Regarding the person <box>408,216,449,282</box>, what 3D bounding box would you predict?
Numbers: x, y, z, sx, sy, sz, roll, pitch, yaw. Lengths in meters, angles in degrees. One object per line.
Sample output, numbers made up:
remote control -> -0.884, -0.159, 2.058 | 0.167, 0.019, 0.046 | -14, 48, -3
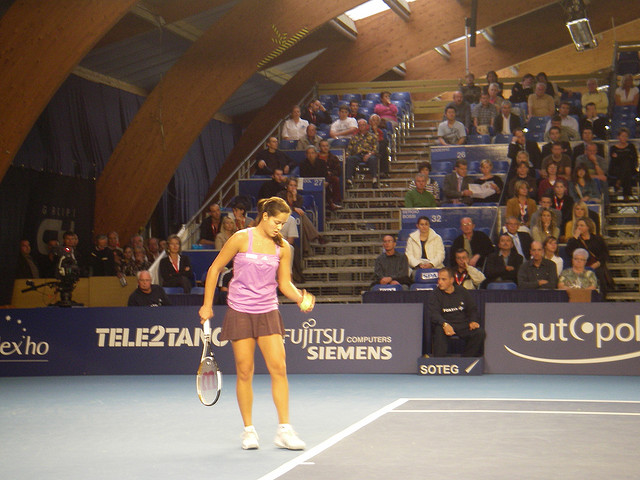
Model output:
person -> 2.083, 0.234, 14.773 | 0.830, 1.337, 0.933 | -4, 4, -7

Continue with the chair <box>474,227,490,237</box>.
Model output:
chair -> 3.482, -0.169, 15.775 | 0.301, 0.179, 0.216 | 6, -2, -1

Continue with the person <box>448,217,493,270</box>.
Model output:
person -> 2.991, 0.311, 14.814 | 0.785, 1.536, 0.769 | -6, -5, 12

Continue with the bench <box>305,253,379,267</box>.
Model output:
bench -> 0.564, 0.410, 16.731 | 1.521, 0.272, 0.262 | -2, 8, -4

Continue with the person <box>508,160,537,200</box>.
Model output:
person -> 4.472, -1.280, 16.383 | 0.870, 0.837, 0.603 | 2, -4, -22

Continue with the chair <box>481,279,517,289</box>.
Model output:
chair -> 3.395, 0.830, 14.005 | 0.640, 0.175, 0.364 | 0, -4, 7

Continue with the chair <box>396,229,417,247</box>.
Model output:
chair -> 1.834, -0.042, 16.130 | 0.330, 0.260, 0.343 | 0, -12, 2

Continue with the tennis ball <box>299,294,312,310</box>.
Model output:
tennis ball -> -0.146, 0.653, 7.764 | 0.141, 0.146, 0.144 | 2, 20, -1

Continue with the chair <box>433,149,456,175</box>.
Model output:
chair -> 3.176, -1.970, 18.915 | 0.554, 0.830, 0.682 | 1, -14, 0

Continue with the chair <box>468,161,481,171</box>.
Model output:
chair -> 3.833, -1.800, 18.350 | 0.218, 0.307, 0.246 | 0, -7, 9

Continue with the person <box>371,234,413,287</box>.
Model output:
person -> 1.366, 0.483, 14.429 | 0.831, 1.189, 0.927 | -3, -1, 42

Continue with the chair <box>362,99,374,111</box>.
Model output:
chair -> 1.537, -4.348, 23.976 | 0.412, 0.427, 0.431 | 1, 4, 24

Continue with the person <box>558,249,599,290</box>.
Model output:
person -> 4.709, 0.685, 13.674 | 0.822, 1.024, 0.666 | 1, -14, 14

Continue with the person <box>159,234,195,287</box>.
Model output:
person -> -2.938, 0.446, 15.137 | 0.674, 1.041, 0.727 | 2, -4, -13

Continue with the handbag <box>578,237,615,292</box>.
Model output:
handbag -> 5.597, 0.543, 14.554 | 0.720, 0.978, 1.010 | -3, 3, 17

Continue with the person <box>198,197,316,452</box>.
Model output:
person -> -0.645, 0.861, 7.657 | 1.101, 2.554, 0.390 | 1, -4, -3

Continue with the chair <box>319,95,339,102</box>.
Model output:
chair -> 0.278, -4.596, 24.315 | 0.514, 0.246, 0.388 | 0, 0, -10

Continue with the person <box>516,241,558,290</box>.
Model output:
person -> 3.997, 0.564, 13.691 | 0.754, 1.091, 0.564 | -2, 0, 6

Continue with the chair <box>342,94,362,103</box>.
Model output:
chair -> 1.056, -4.695, 24.579 | 0.483, 0.432, 0.437 | 0, 9, -3

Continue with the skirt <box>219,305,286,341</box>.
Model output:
skirt -> -0.714, 0.793, 7.760 | 0.678, 0.453, 0.456 | -1, 3, -16

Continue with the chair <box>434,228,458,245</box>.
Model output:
chair -> 2.699, -0.065, 15.700 | 0.371, 0.380, 0.348 | 2, -24, 4
